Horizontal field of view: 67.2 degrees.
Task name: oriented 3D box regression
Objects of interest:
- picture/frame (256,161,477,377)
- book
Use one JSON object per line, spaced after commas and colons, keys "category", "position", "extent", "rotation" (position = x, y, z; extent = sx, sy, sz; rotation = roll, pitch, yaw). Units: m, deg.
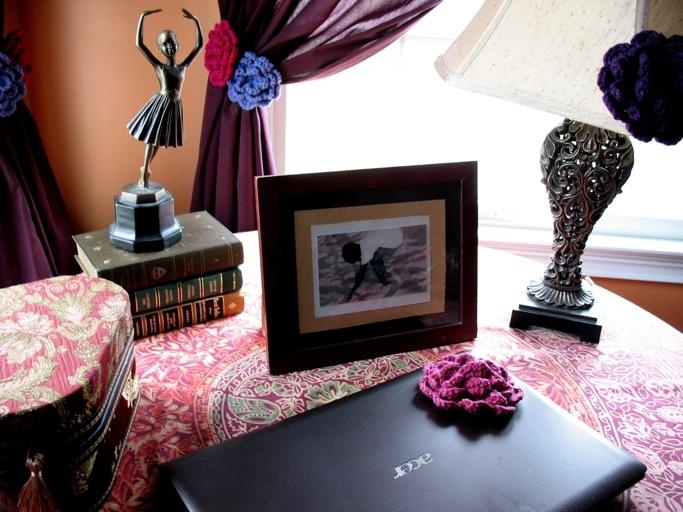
{"category": "picture/frame", "position": [0.042, 0.023, 0.873], "extent": [0.318, 0.292, 0.027], "rotation": [-7, 10, -14]}
{"category": "book", "position": [-0.330, -0.038, 0.948], "extent": [0.262, 0.160, 0.211], "rotation": [-14, 35, -33]}
